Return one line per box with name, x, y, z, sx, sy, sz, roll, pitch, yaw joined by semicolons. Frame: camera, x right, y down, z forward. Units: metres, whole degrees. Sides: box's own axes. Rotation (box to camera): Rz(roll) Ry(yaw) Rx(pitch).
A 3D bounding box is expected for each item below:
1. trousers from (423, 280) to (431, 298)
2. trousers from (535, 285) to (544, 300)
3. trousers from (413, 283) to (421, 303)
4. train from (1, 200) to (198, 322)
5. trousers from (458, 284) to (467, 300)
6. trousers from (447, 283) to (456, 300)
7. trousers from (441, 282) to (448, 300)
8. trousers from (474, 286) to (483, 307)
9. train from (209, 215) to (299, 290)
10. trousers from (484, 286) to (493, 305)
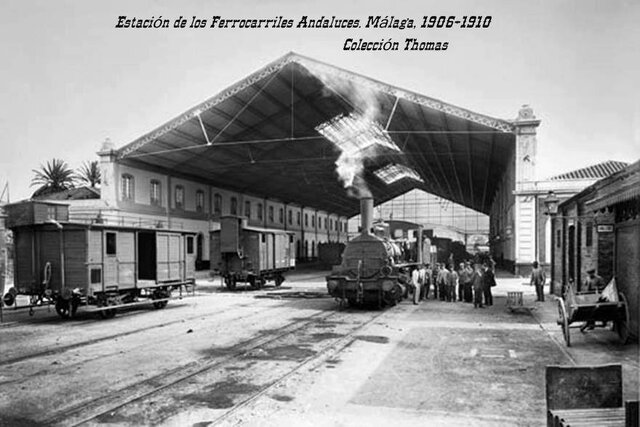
trousers;5.603;3.999;27.003;0.364;0.917;0.856;-3;-8;11
trousers;10.816;3.908;25.156;0.227;0.247;0.831;8;-32;8
trousers;4.730;3.912;25.095;0.241;0.940;1.030;-4;-8;18
train;-9.971;2.267;22.638;2.207;2.665;5.860;-4;-6;23
trousers;7.095;3.925;25.450;0.290;0.749;0.923;-2;-8;7
trousers;6.553;3.919;25.618;0.392;0.813;0.248;-4;-7;22
trousers;6.278;3.926;25.906;0.225;0.824;0.505;-1;-7;-7
trousers;7.242;3.829;23.437;0.815;0.938;0.314;5;-10;-42
train;-4.493;2.904;36.143;3.313;4.834;9.510;0;-3;14
trousers;7.946;3.872;24.173;0.307;0.829;0.529;-3;-7;15
